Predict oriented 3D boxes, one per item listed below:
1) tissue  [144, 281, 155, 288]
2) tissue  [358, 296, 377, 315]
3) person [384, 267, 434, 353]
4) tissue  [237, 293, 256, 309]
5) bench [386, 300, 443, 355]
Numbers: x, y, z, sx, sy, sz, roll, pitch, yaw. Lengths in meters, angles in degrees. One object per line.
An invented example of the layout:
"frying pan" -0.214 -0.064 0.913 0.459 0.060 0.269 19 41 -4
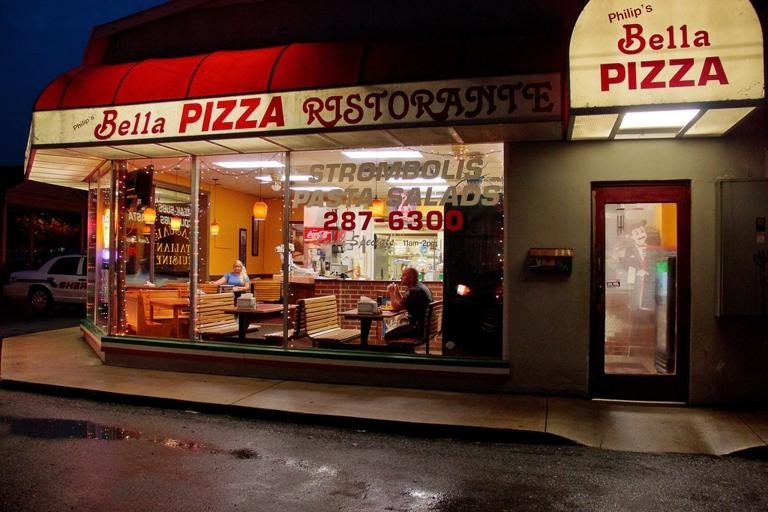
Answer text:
"tissue " -5.338 0.674 13.561 0.163 0.074 0.213 1 3 -34
"tissue " -0.312 0.926 10.846 0.295 0.245 0.292 -1 -4 2
"person" 0.460 1.133 10.996 1.048 1.711 0.846 -1 -3 32
"tissue " -2.643 0.878 11.396 0.309 0.280 0.274 -1 -6 8
"bench" 0.607 1.295 11.001 0.983 1.216 0.878 1 -6 15
